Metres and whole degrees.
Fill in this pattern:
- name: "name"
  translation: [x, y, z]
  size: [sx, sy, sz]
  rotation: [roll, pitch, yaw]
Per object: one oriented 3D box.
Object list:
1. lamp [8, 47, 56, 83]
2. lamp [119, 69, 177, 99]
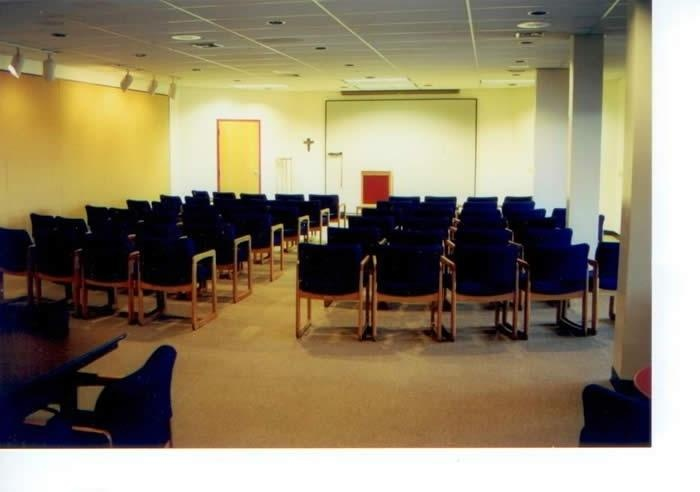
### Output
- name: "lamp"
  translation: [-6.494, -3.709, 10.867]
  size: [0.703, 0.503, 0.265]
  rotation: [4, 25, -17]
- name: "lamp"
  translation: [-5.400, -4.346, 14.438]
  size: [1.222, 0.589, 3.554]
  rotation: [-5, 16, -18]
